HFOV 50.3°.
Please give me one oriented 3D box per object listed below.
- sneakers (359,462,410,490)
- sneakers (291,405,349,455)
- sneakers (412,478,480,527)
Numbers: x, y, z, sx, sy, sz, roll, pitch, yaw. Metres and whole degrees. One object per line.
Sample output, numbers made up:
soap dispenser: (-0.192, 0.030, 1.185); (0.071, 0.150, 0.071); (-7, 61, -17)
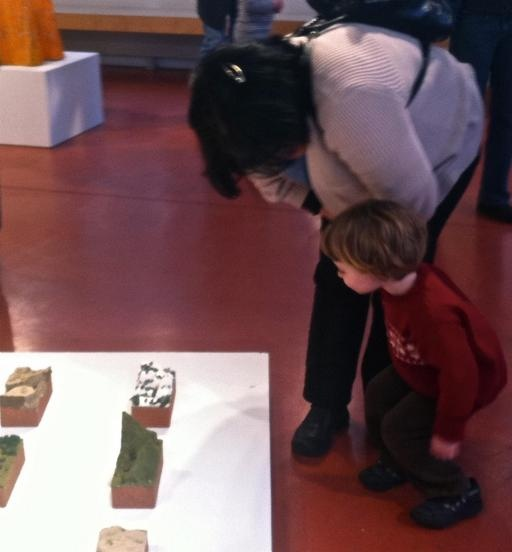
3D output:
sneakers: (0.352, 0.545, 1.487); (0.113, 0.049, 0.059); (4, 24, -4)
sneakers: (0.191, 0.453, 1.632); (0.087, 0.086, 0.206); (7, 15, 29)
sneakers: (0.494, 0.589, 1.454); (0.190, 0.132, 0.087); (1, -5, -12)
